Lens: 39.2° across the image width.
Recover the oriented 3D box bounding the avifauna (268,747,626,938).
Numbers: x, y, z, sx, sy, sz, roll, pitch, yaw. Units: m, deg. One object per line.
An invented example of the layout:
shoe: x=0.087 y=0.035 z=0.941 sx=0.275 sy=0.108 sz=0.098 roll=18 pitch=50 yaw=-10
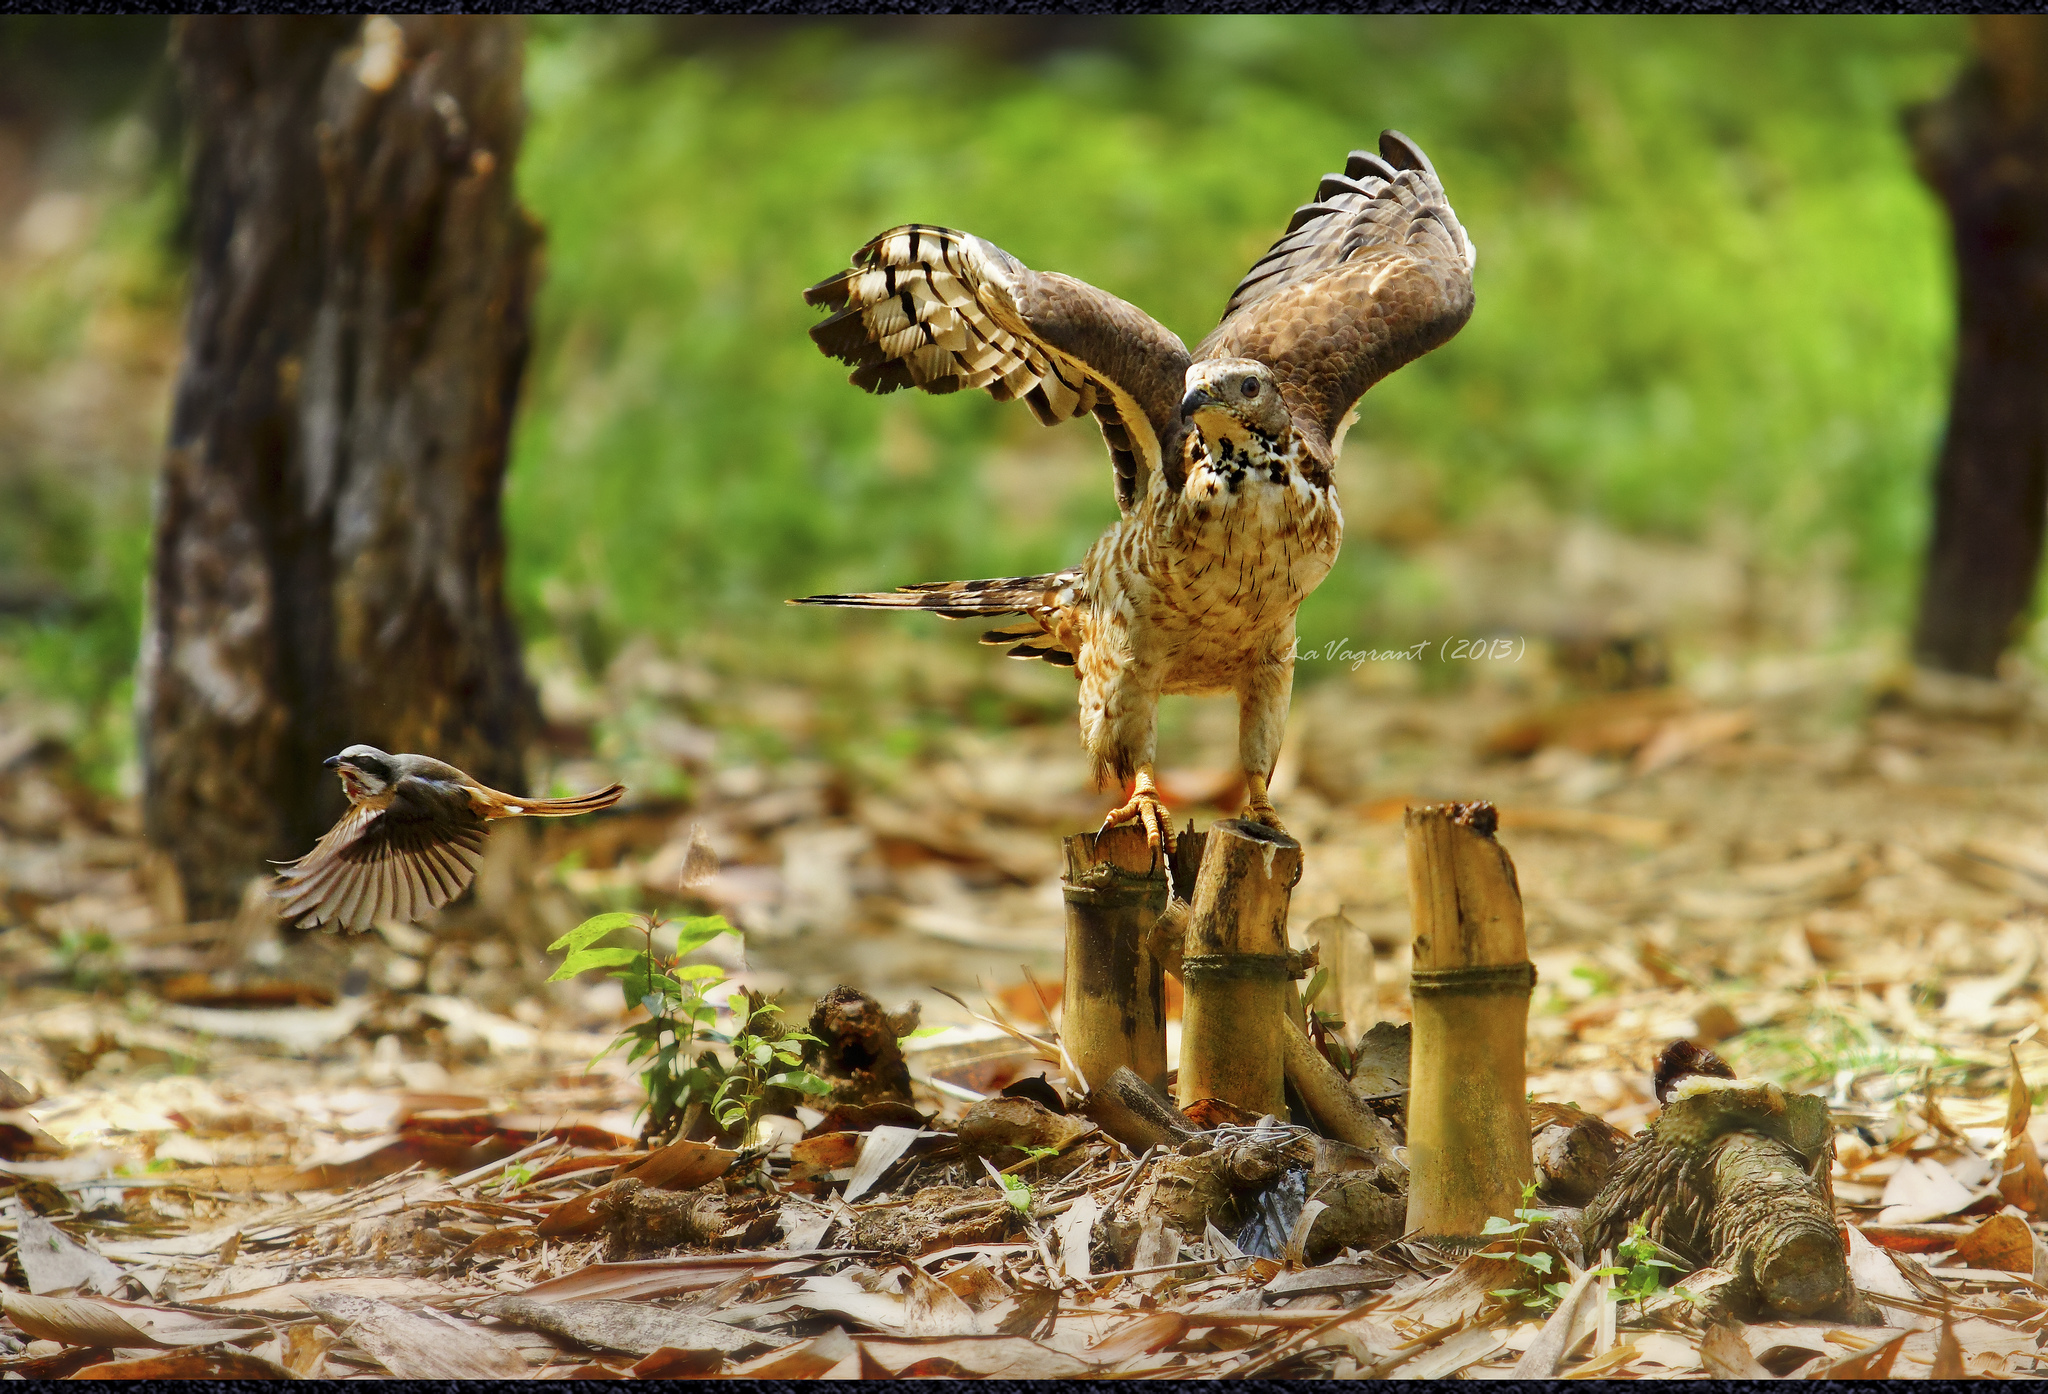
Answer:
avifauna: x=-1.505 y=0.348 z=7.110 sx=0.640 sy=0.240 sz=0.554 roll=-12 pitch=15 yaw=-2

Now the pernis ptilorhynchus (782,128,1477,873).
pernis ptilorhynchus: x=0.312 y=-0.671 z=7.896 sx=1.723 sy=1.567 sz=1.017 roll=6 pitch=-2 yaw=7
